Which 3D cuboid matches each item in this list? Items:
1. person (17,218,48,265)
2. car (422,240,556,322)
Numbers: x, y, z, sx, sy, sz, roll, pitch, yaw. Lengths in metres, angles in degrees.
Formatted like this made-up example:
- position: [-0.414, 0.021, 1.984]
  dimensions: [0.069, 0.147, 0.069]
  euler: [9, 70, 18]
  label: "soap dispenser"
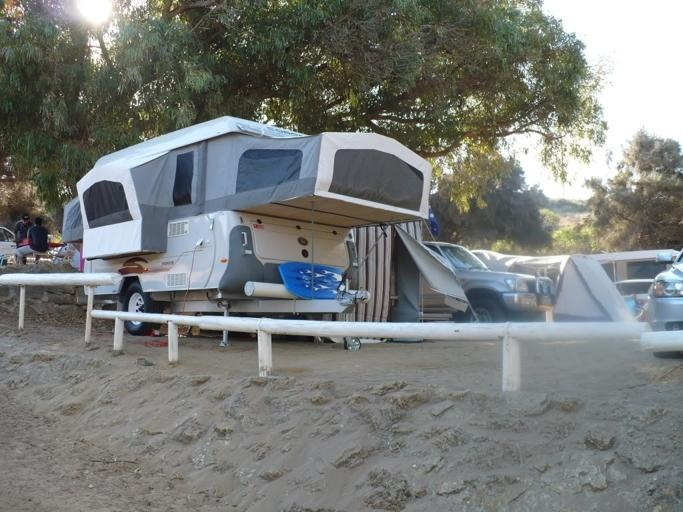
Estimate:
- position: [-9.209, -0.391, 19.407]
  dimensions: [0.966, 1.138, 0.620]
  euler: [-3, -5, 28]
  label: "person"
- position: [3.139, 0.533, 14.218]
  dimensions: [2.699, 1.526, 1.508]
  euler: [-5, -5, 33]
  label: "car"
